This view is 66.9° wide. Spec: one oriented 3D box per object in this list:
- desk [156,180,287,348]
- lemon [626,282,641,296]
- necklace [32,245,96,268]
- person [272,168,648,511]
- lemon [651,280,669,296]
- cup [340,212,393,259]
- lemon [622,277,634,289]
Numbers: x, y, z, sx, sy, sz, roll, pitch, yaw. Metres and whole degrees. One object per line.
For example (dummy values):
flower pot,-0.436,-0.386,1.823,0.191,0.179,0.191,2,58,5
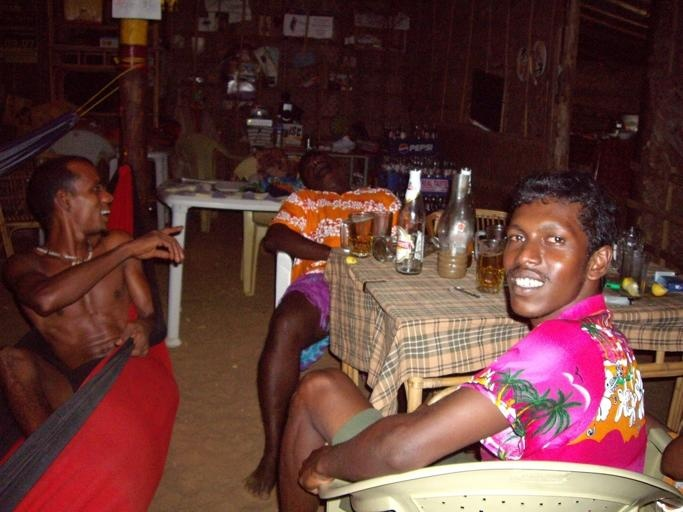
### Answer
desk,-1.061,-0.042,4.204,0.974,0.684,1.009,9,0,-28
lemon,1.121,0.133,1.995,0.043,0.041,0.048,1,3,8
necklace,-1.206,0.004,2.240,0.164,0.045,0.137,8,0,6
person,0.250,0.243,1.852,1.186,1.249,0.752,0,-3,17
lemon,1.250,0.135,2.036,0.052,0.035,0.054,6,20,6
cup,0.149,-0.103,2.438,0.262,0.201,0.163,-14,20,-40
lemon,1.117,0.110,2.020,0.038,0.039,0.039,15,19,-23
